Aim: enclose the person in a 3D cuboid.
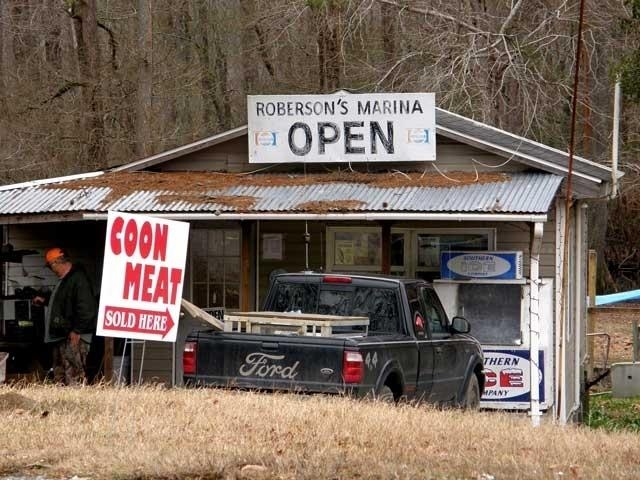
[{"bbox_3d":[-4.848,1.506,27.692,0.941,2.615,0.609,0,-1,-5],"label":"person"}]
